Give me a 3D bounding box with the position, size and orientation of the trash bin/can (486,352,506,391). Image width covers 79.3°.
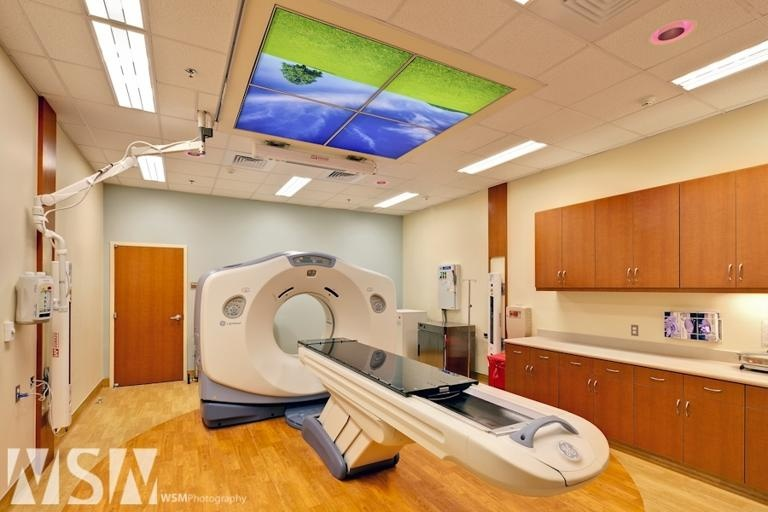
[{"bbox_3d":[1.578,1.634,6.578,0.208,0.409,0.517,2,11,9],"label":"trash bin/can"}]

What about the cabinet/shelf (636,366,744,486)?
[{"bbox_3d":[3.252,1.686,4.760,0.603,0.954,1.116,4,-5,-23],"label":"cabinet/shelf"}]

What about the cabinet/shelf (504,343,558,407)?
[{"bbox_3d":[1.939,1.485,5.876,0.329,0.685,0.797,1,-1,-33],"label":"cabinet/shelf"}]

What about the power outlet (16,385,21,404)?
[{"bbox_3d":[-3.347,1.260,4.245,0.020,0.144,0.118,-5,13,-23],"label":"power outlet"}]

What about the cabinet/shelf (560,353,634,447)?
[{"bbox_3d":[2.508,1.634,5.326,0.427,0.869,1.004,5,-5,-35],"label":"cabinet/shelf"}]
